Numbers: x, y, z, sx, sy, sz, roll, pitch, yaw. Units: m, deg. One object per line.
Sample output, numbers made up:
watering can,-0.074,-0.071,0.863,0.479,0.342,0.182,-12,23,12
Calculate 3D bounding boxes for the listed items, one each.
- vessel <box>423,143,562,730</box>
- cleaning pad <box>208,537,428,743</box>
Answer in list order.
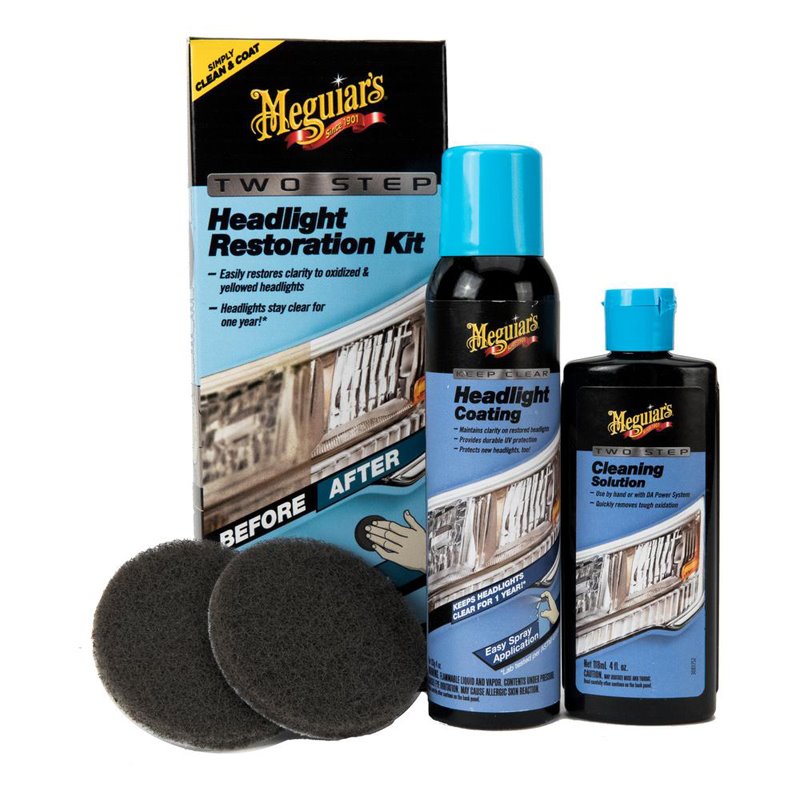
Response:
vessel,0.135,0.059,1.344,0.197,0.853,0.213,-2,13,8
cleaning pad,-0.120,0.365,1.407,0.329,0.253,0.200,-6,13,-17
